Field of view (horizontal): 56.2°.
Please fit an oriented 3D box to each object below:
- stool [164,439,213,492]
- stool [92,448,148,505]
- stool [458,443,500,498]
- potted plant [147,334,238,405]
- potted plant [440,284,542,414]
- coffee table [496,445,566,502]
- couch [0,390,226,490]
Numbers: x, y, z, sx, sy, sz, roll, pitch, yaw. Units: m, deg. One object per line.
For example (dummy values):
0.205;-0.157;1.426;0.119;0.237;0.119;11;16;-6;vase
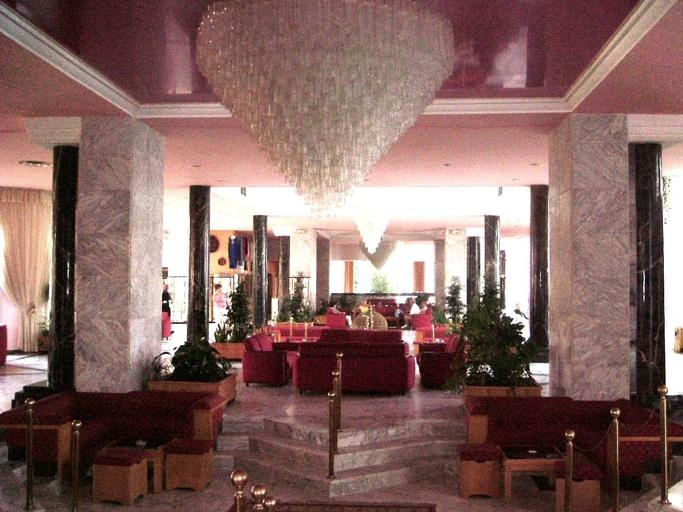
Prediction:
-1.864;2.604;8.055;0.574;0.549;0.559;0;-6;3;stool
-2.593;2.561;7.546;0.573;0.601;0.578;-1;-7;6;stool
1.660;2.633;7.902;0.558;0.571;0.551;-1;-8;1;stool
-2.290;1.797;10.046;1.130;0.820;1.124;2;-4;1;potted plant
2.300;1.371;9.688;1.281;1.374;0.623;1;5;13;potted plant
2.354;2.603;7.884;0.703;0.561;0.930;2;5;18;coffee table
-2.790;2.200;8.318;1.676;0.595;1.534;0;-3;2;couch
